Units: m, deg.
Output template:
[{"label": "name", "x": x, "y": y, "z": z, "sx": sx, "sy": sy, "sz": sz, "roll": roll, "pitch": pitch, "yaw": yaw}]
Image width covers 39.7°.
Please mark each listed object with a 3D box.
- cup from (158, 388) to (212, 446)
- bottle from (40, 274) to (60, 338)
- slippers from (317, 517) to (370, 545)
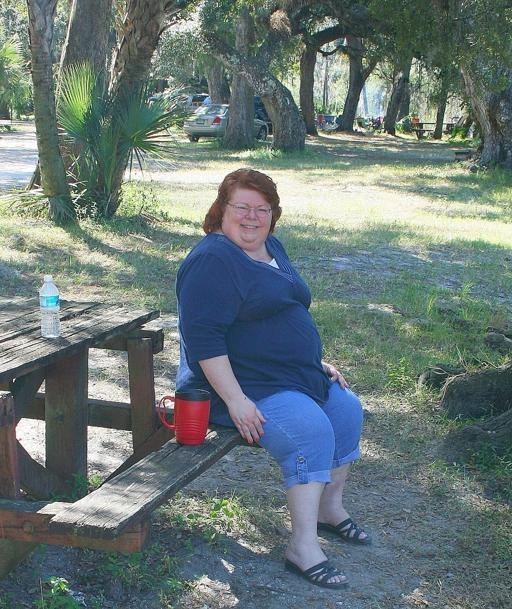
[{"label": "cup", "x": -0.244, "y": 0.391, "z": 2.448, "sx": 0.196, "sy": 0.166, "sz": 0.121, "roll": -2, "pitch": -7, "yaw": 15}, {"label": "bottle", "x": -0.731, "y": -0.006, "z": 2.547, "sx": 0.075, "sy": 0.223, "sz": 0.176, "roll": 3, "pitch": 10, "yaw": -15}, {"label": "slippers", "x": 0.361, "y": 0.899, "z": 2.786, "sx": 0.225, "sy": 0.071, "sz": 0.085, "roll": 8, "pitch": 15, "yaw": 17}]
